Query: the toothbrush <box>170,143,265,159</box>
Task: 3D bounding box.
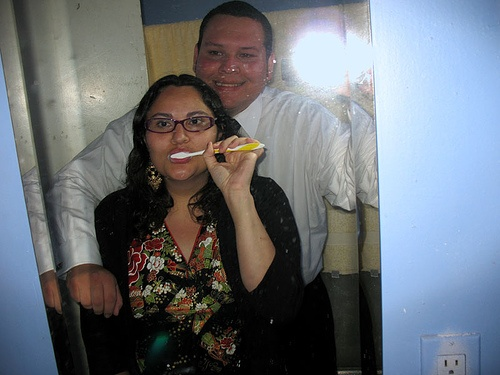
[{"bbox_3d":[-0.090,-0.101,1.198,0.209,0.032,0.018,-7,-1,-2],"label":"toothbrush"}]
